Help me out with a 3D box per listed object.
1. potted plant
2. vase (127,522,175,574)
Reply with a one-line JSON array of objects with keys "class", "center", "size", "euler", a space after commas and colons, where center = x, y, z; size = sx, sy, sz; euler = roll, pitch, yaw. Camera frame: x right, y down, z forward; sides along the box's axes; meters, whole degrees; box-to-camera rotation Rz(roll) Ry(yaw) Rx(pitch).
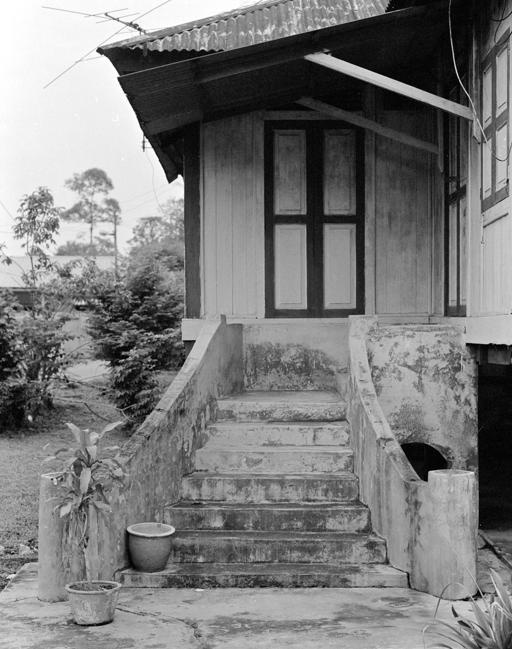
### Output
[{"class": "potted plant", "center": [-1.049, 1.173, 6.818], "size": [0.521, 1.136, 0.810], "euler": [1, -4, -8]}, {"class": "vase", "center": [-0.675, 1.419, 7.181], "size": [0.228, 0.224, 0.271], "euler": [0, -11, 1]}]
